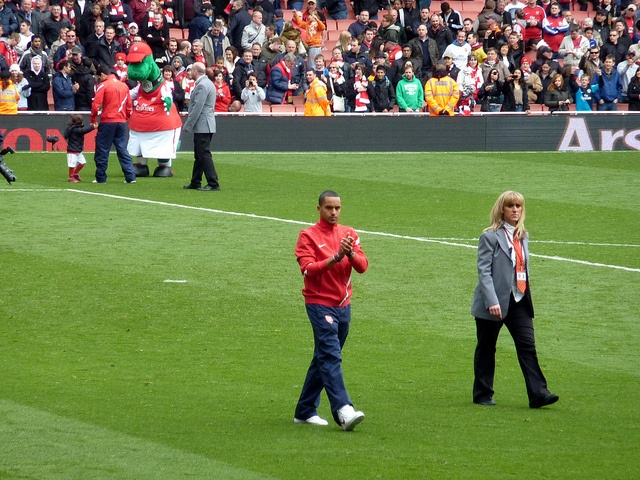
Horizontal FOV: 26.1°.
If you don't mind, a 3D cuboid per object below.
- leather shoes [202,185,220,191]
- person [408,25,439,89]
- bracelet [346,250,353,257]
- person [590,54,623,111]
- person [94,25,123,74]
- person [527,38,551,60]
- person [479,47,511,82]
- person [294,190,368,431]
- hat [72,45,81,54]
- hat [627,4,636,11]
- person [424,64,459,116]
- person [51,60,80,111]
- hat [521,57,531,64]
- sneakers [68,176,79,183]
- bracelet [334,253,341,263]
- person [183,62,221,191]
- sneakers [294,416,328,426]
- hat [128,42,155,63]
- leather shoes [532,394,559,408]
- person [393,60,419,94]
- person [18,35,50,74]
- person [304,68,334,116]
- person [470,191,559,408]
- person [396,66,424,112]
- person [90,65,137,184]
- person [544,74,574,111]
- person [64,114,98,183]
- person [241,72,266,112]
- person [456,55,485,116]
[{"bbox_3d":[-2.239,-1.089,28.874,0.390,0.166,0.131,2,0,-4],"label":"leather shoes"},{"bbox_3d":[2.766,-4.722,37.448,0.963,2.120,0.749,-1,3,-5],"label":"person"},{"bbox_3d":[0.386,0.179,17.721,0.065,0.046,0.065,-3,17,9],"label":"bracelet"},{"bbox_3d":[7.693,-4.220,37.411,0.785,1.456,0.535,3,10,12],"label":"person"},{"bbox_3d":[-5.190,-4.719,34.644,0.744,1.167,0.653,1,-2,-15],"label":"person"},{"bbox_3d":[6.164,-5.494,39.967,0.583,0.402,0.776,-1,0,-16],"label":"person"},{"bbox_3d":[4.627,-4.616,36.784,1.038,1.010,0.557,-2,-2,9],"label":"person"},{"bbox_3d":[0.130,0.921,17.931,0.883,3.024,0.995,0,10,-2],"label":"person"},{"bbox_3d":[-5.741,-4.518,33.086,0.213,0.181,0.477,-1,11,-12],"label":"hat"},{"bbox_3d":[9.113,-6.851,40.796,0.225,0.252,0.306,3,-15,2],"label":"hat"},{"bbox_3d":[3.098,-3.847,35.507,0.842,1.275,0.617,2,10,5],"label":"person"},{"bbox_3d":[-6.058,-3.724,33.470,0.613,1.231,0.432,-5,11,-28],"label":"person"},{"bbox_3d":[5.473,-4.824,37.020,0.313,0.238,0.405,8,11,6],"label":"hat"},{"bbox_3d":[-5.143,-1.257,29.297,0.218,0.094,0.082,0,7,44],"label":"sneakers"},{"bbox_3d":[0.220,0.227,17.738,0.068,0.096,0.095,-41,14,1],"label":"bracelet"},{"bbox_3d":[-2.373,-2.249,28.291,0.660,2.636,0.930,0,10,-4],"label":"person"},{"bbox_3d":[-0.098,2.349,18.120,0.443,0.176,0.158,-1,0,4],"label":"sneakers"},{"bbox_3d":[-3.776,-3.981,29.471,0.354,0.257,0.530,0,15,20],"label":"hat"},{"bbox_3d":[2.956,2.155,18.448,0.333,0.223,0.212,-1,10,-10],"label":"leather shoes"},{"bbox_3d":[2.201,-4.201,36.035,0.689,0.952,0.446,13,-15,-5],"label":"person"},{"bbox_3d":[-6.887,-4.447,34.234,0.903,1.126,0.390,-5,-21,0],"label":"person"},{"bbox_3d":[-0.024,-3.702,34.879,0.685,1.120,0.724,1,10,0],"label":"person"},{"bbox_3d":[2.523,0.799,18.562,1.005,2.820,0.661,2,10,7],"label":"person"},{"bbox_3d":[2.380,-3.955,35.902,0.741,1.272,0.521,-3,11,-19],"label":"person"},{"bbox_3d":[-4.358,-2.390,29.039,0.686,2.475,1.149,5,11,24],"label":"person"},{"bbox_3d":[6.381,-3.946,37.184,0.722,0.973,0.421,-4,11,-26],"label":"person"},{"bbox_3d":[-4.966,-1.892,28.939,0.580,1.469,1.405,-1,10,-10],"label":"person"},{"bbox_3d":[-1.656,-3.715,34.971,0.579,0.984,0.554,-2,11,-15],"label":"person"},{"bbox_3d":[3.856,-4.115,36.524,0.537,1.487,0.924,8,13,37],"label":"person"}]
